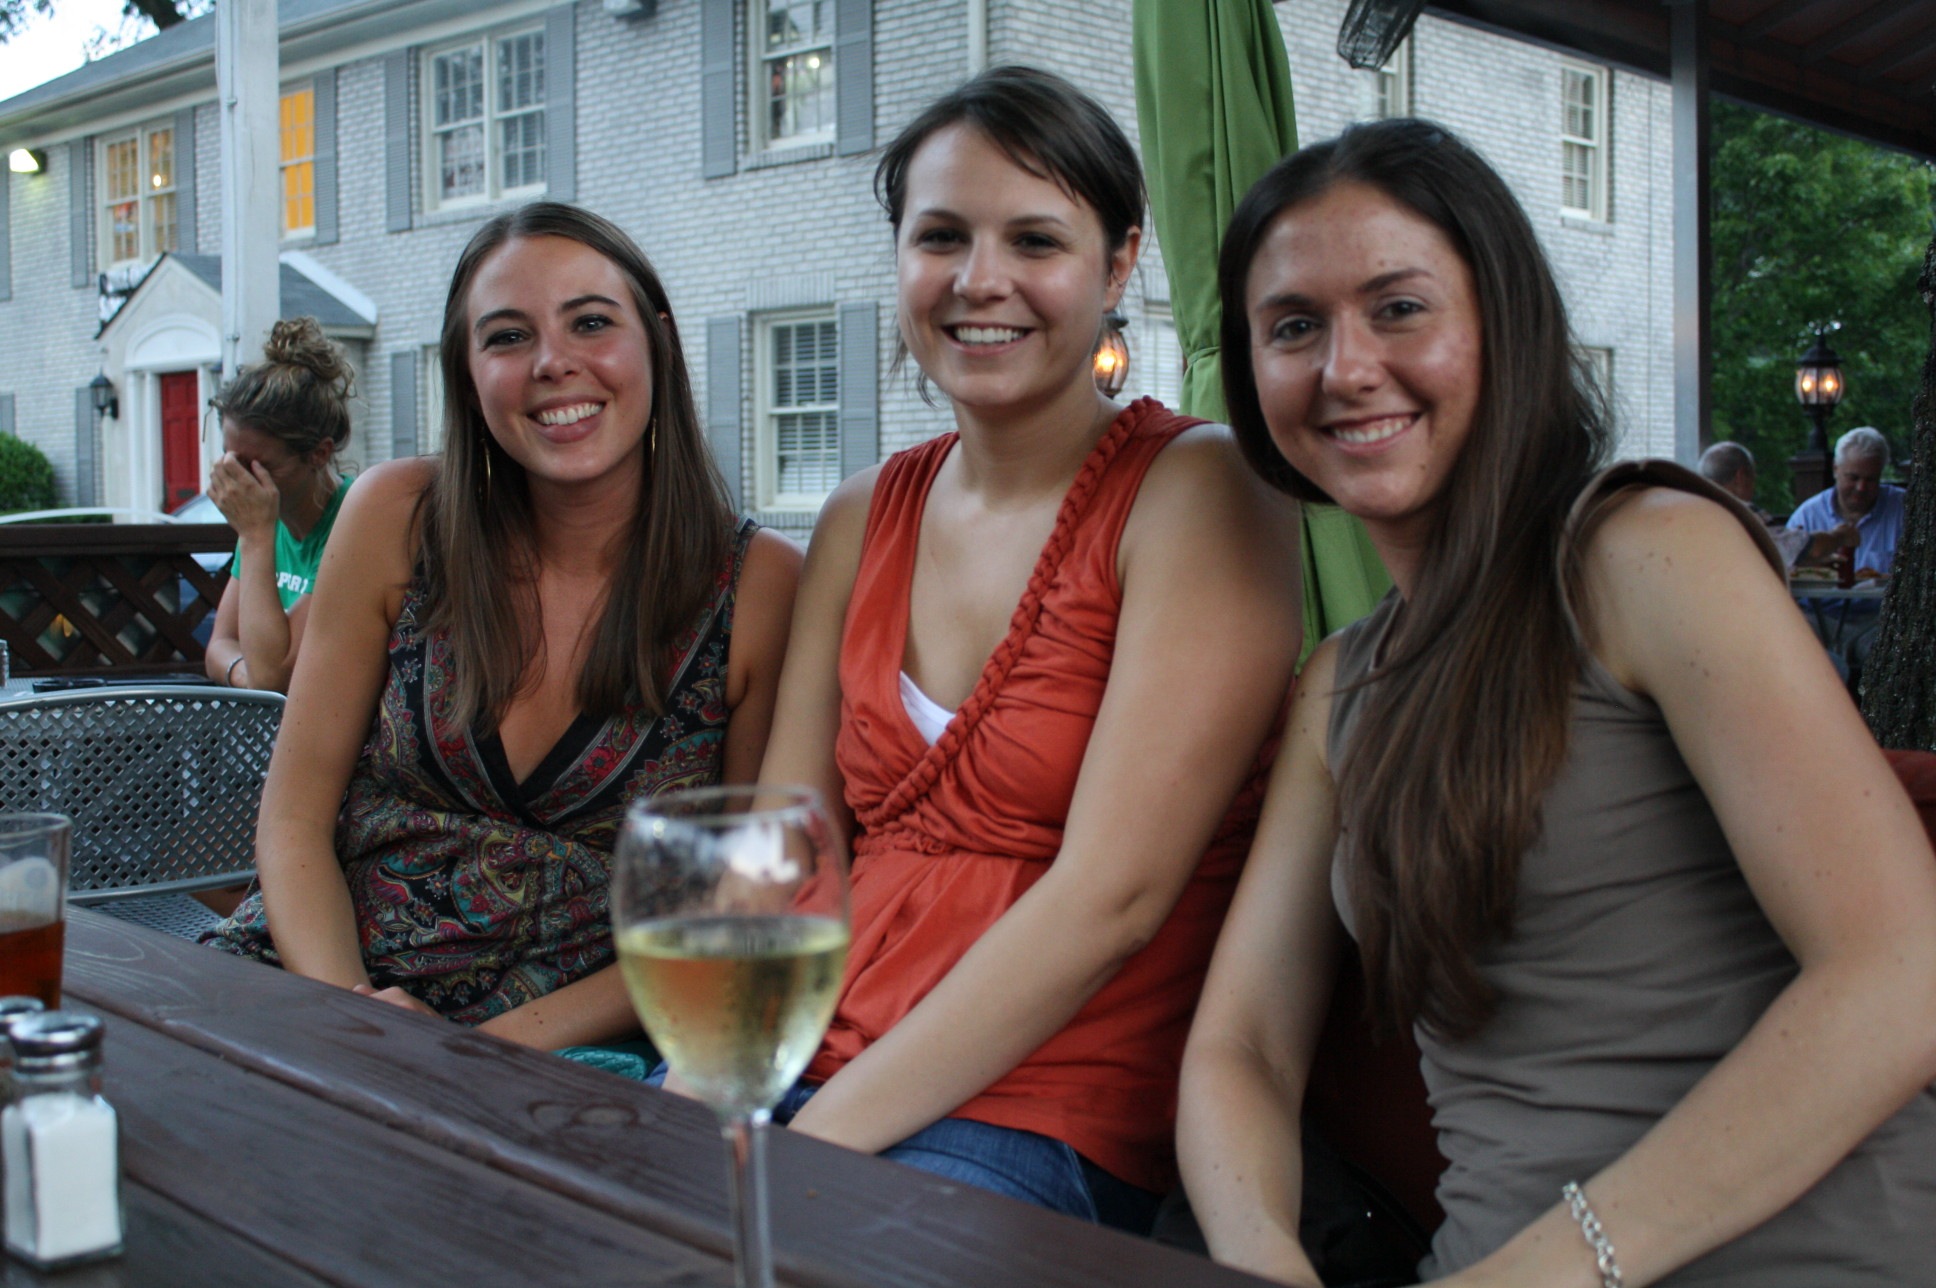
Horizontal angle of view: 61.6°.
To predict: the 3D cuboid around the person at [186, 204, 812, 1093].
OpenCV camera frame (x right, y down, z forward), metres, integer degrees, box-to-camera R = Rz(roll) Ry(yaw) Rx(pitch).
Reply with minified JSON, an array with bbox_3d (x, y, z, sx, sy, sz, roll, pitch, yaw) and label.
[{"bbox_3d":[-0.788,0.004,2.842,1.036,1.548,0.939,6,9,-11],"label":"person"}]
